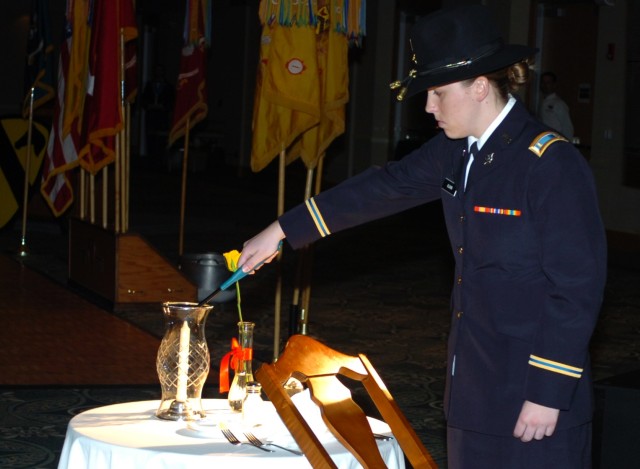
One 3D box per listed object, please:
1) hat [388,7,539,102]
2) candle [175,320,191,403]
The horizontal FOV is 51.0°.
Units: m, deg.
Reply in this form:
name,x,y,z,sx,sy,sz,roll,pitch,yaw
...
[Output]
name,x,y,z,sx,sy,sz,roll,pitch,yaw
hat,0.392,-0.481,1.938,0.305,0.182,0.284,-14,8,-21
candle,-0.410,0.387,2.023,0.040,0.258,0.068,-2,3,-16
